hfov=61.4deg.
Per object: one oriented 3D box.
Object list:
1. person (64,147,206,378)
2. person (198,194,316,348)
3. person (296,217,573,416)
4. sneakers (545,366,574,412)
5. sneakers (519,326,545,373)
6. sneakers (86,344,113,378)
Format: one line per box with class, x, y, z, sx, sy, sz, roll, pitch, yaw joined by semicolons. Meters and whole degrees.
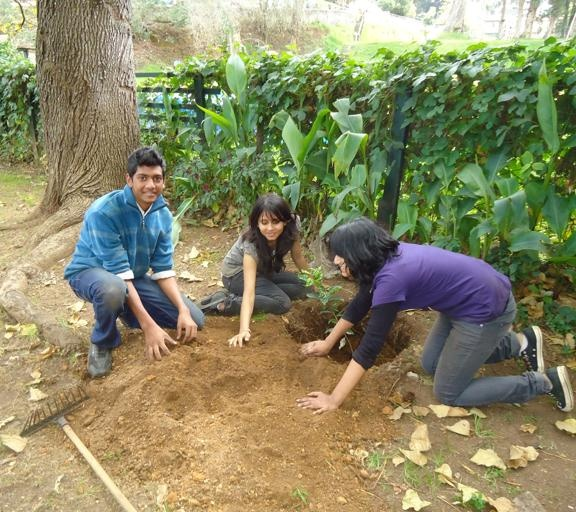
person;-1.008;0.022;3.158;0.820;1.405;0.672;-8;25;-28
person;-0.138;-0.035;3.630;1.147;0.925;0.694;-20;32;-39
person;0.895;0.293;3.086;1.659;1.239;0.909;-2;11;8
sneakers;1.589;0.780;2.892;0.130;0.344;0.109;-13;11;3
sneakers;1.525;0.577;3.072;0.129;0.334;0.106;-7;-1;-5
sneakers;-1.214;0.677;3.134;0.158;0.197;0.141;-5;24;-22
